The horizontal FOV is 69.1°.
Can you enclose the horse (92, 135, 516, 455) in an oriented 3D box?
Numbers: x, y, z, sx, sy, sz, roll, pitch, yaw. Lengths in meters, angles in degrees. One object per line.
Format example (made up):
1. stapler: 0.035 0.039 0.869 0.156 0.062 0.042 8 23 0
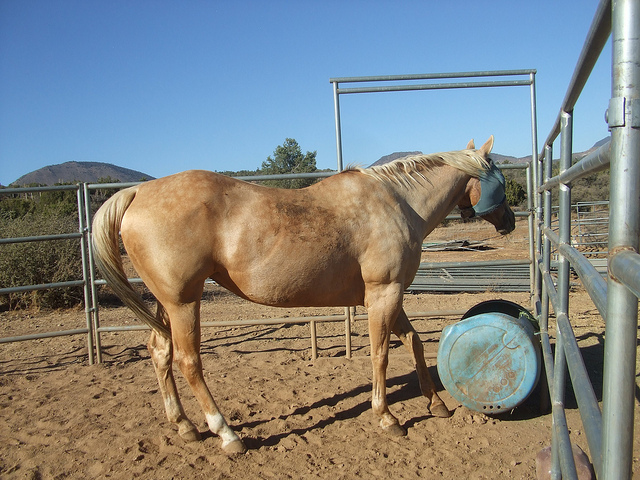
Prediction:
1. horse: -0.137 0.416 3.796 3.160 2.274 1.096 -4 7 -25
